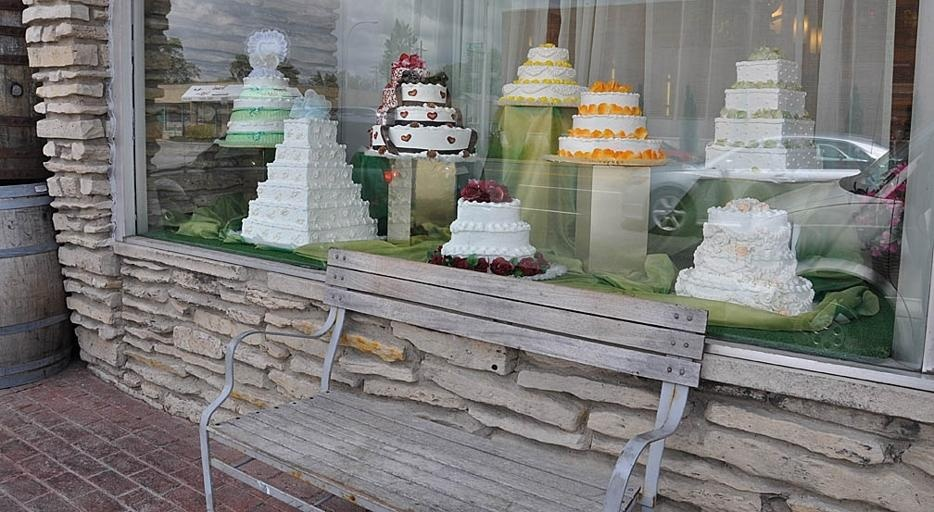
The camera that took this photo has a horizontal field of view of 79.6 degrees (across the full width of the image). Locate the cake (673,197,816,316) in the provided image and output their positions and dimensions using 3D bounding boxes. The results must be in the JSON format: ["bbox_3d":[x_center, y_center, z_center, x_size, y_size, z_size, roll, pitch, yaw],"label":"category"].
[{"bbox_3d":[1.507,-0.024,3.127,0.709,0.452,0.676,5,7,33],"label":"cake"}]

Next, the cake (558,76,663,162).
[{"bbox_3d":[0.857,-0.770,3.360,0.623,0.362,0.581,5,10,29],"label":"cake"}]

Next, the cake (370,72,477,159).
[{"bbox_3d":[-0.308,-0.914,3.785,0.700,0.380,0.640,1,0,-23],"label":"cake"}]

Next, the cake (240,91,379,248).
[{"bbox_3d":[-1.039,-0.651,4.733,1.244,1.281,1.311,5,7,34],"label":"cake"}]

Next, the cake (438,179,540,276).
[{"bbox_3d":[0.080,-0.209,3.531,0.715,0.475,0.584,2,6,3],"label":"cake"}]

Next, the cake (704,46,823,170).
[{"bbox_3d":[1.575,-0.773,3.233,0.722,0.653,0.683,2,5,41],"label":"cake"}]

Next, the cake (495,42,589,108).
[{"bbox_3d":[0.515,-1.126,3.653,0.576,0.298,0.501,1,6,-2],"label":"cake"}]
